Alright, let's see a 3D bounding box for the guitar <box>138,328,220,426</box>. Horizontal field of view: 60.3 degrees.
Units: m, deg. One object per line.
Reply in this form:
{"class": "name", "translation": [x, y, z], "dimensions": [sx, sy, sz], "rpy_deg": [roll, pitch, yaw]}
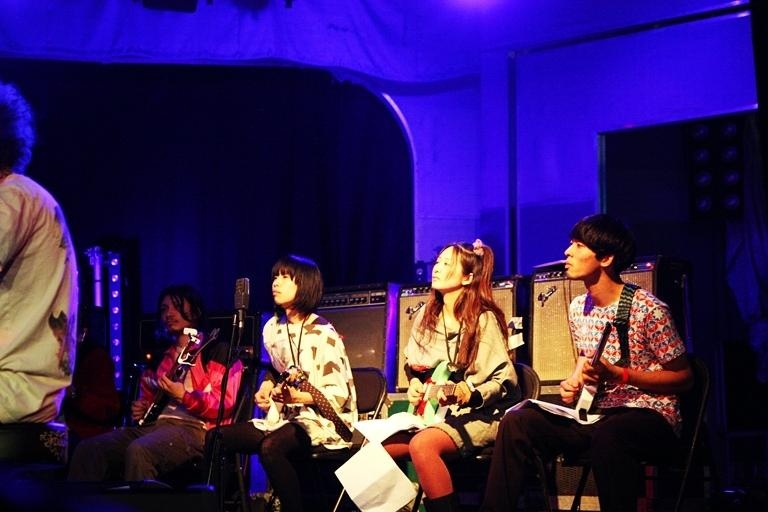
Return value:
{"class": "guitar", "translation": [-1.605, 0.910, 5.176], "dimensions": [0.124, 0.842, 0.403], "rpy_deg": [36, -22, -22]}

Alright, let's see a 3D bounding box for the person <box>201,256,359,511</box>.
{"class": "person", "translation": [-0.624, 0.786, 4.487], "dimensions": [0.892, 1.673, 0.642], "rpy_deg": [0, -6, -3]}

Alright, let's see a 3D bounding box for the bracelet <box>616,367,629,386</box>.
{"class": "bracelet", "translation": [1.353, 0.671, 3.746], "dimensions": [0.073, 0.085, 0.036], "rpy_deg": [4, -7, -28]}

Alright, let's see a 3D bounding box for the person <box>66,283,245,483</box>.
{"class": "person", "translation": [-1.773, 1.008, 5.101], "dimensions": [0.799, 1.330, 0.600], "rpy_deg": [31, -58, -30]}
